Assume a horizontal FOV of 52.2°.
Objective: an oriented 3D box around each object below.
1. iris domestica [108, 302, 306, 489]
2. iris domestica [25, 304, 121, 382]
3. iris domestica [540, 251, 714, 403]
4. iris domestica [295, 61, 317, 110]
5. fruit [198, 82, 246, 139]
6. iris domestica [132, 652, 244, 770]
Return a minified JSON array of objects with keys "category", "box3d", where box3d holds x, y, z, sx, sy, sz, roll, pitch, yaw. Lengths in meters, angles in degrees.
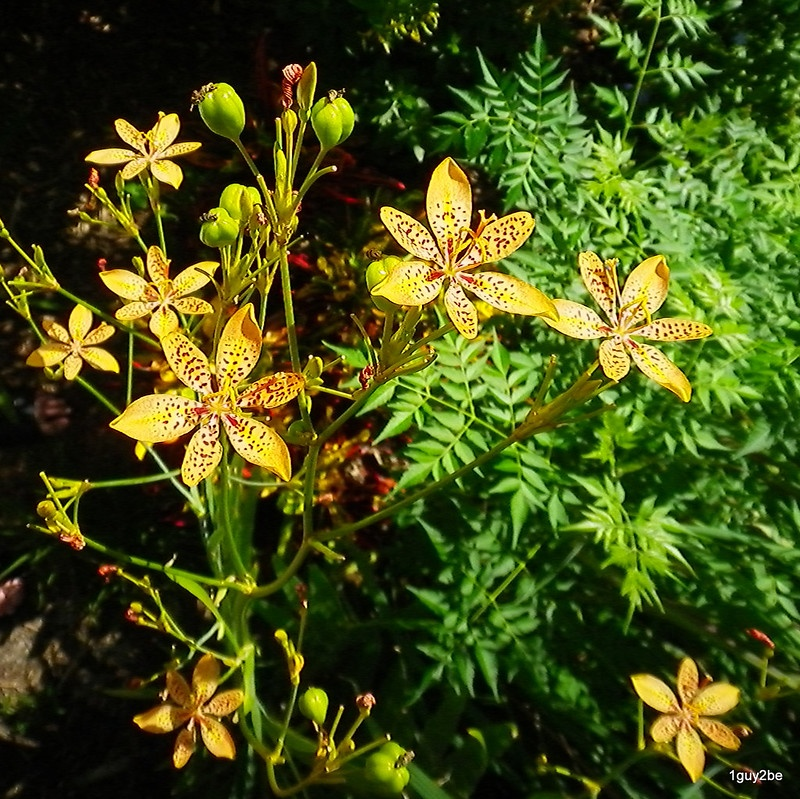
[{"category":"iris domestica","box3d":[-0.159,-0.002,0.757,0.162,0.086,0.173,41,78,-9]},{"category":"iris domestica","box3d":[-0.376,-0.066,0.966,0.087,0.102,0.035,2,51,-54]},{"category":"iris domestica","box3d":[0.198,-0.095,0.814,0.177,0.157,0.059,-25,78,-3]},{"category":"iris domestica","box3d":[-0.084,-0.271,0.714,0.022,0.045,0.008,16,43,2]},{"category":"fruit","box3d":[-0.157,-0.258,0.730,0.040,0.036,0.037,18,68,-5]},{"category":"iris domestica","box3d":[-0.235,0.354,0.924,0.110,0.057,0.128,37,25,12]}]
